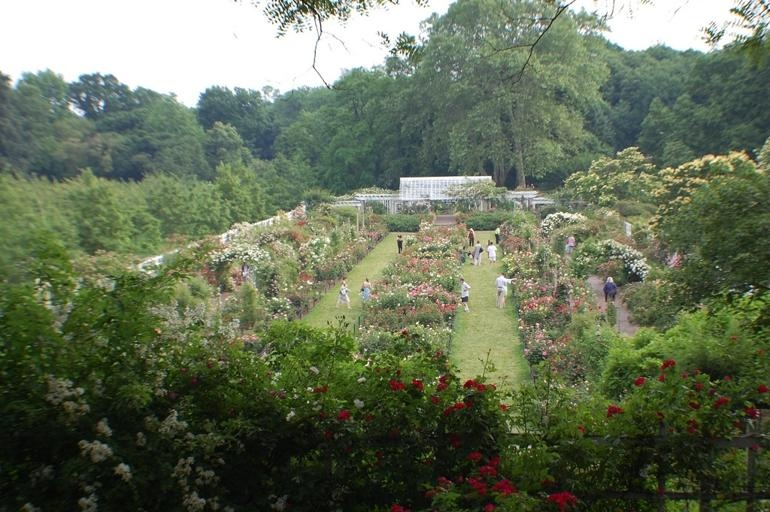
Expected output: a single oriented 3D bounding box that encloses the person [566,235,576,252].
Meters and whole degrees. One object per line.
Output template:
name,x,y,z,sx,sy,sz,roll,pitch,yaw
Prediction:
person,8.117,-0.521,25.366,0.332,0.872,1.174,-3,-9,20
